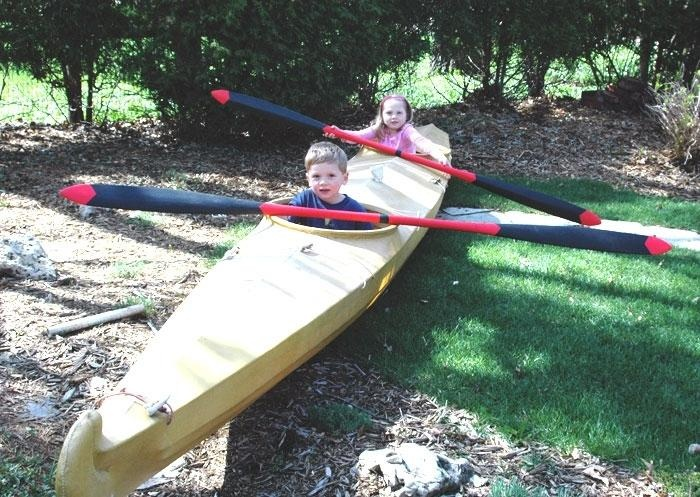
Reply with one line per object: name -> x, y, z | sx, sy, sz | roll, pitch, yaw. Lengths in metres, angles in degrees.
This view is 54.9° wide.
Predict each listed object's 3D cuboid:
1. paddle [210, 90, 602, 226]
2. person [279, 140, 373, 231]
paddle -> 0.604, -1.015, 7.671 | 5.789, 0.431, 0.297 | 19, 65, 19
person -> -0.168, -0.492, 5.578 | 0.787, 0.732, 0.357 | 7, 26, 18
